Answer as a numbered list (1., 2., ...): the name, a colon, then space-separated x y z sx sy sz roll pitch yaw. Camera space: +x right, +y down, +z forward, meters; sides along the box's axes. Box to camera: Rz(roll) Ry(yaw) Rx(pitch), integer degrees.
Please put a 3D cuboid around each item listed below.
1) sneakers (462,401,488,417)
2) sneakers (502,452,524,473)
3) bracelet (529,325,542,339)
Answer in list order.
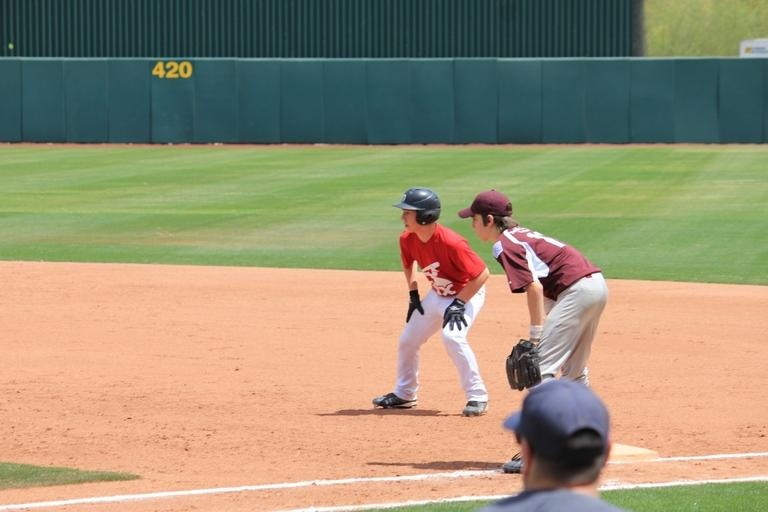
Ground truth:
1. sneakers: 1.725 2.935 32.174 0.530 0.183 0.211 -6 -7 35
2. sneakers: 2.292 3.794 30.541 0.315 0.227 0.518 -1 -8 11
3. bracelet: 2.735 1.411 30.820 0.270 0.223 0.245 -1 6 2
